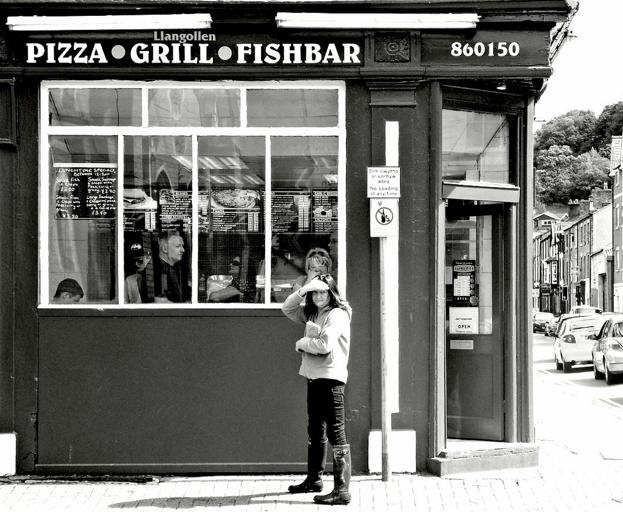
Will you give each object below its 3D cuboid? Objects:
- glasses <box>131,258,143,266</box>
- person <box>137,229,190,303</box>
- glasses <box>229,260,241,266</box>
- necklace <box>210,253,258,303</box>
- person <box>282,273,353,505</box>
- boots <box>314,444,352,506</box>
[{"bbox_3d":[-2.037,0.076,14.148,0.090,0.088,0.089,7,-3,6],"label":"glasses"},{"bbox_3d":[-1.766,0.151,14.202,0.420,0.741,0.826,0,0,-27],"label":"person"},{"bbox_3d":[-0.899,0.091,14.195,0.092,0.096,0.066,-2,-5,18],"label":"glasses"},{"bbox_3d":[-0.845,0.306,14.208,0.405,0.566,0.165,8,-10,11],"label":"necklace"},{"bbox_3d":[0.099,1.442,13.146,0.724,2.446,0.539,0,0,21],"label":"person"},{"bbox_3d":[0.230,2.350,13.086,0.386,0.638,0.284,0,0,4],"label":"boots"}]
